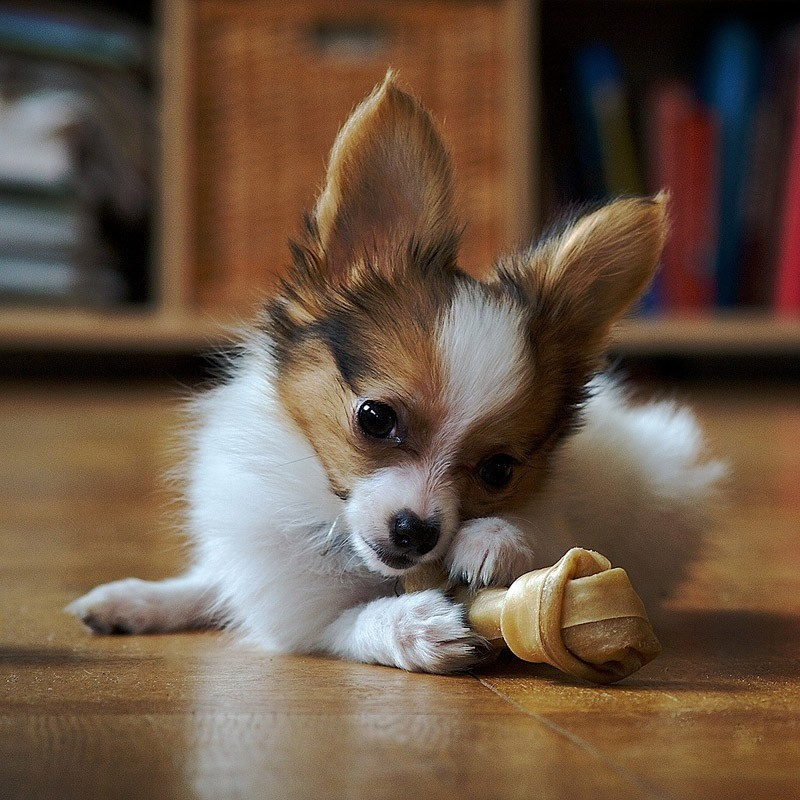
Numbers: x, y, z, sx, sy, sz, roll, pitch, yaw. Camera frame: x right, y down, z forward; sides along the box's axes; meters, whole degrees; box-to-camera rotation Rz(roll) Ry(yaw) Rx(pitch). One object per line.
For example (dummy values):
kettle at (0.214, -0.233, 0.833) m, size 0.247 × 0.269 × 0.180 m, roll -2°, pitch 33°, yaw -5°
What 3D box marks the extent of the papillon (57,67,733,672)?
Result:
papillon at (0.030, -0.007, 1.965) m, size 0.931 × 0.933 × 0.900 m, roll 21°, pitch 44°, yaw 22°
